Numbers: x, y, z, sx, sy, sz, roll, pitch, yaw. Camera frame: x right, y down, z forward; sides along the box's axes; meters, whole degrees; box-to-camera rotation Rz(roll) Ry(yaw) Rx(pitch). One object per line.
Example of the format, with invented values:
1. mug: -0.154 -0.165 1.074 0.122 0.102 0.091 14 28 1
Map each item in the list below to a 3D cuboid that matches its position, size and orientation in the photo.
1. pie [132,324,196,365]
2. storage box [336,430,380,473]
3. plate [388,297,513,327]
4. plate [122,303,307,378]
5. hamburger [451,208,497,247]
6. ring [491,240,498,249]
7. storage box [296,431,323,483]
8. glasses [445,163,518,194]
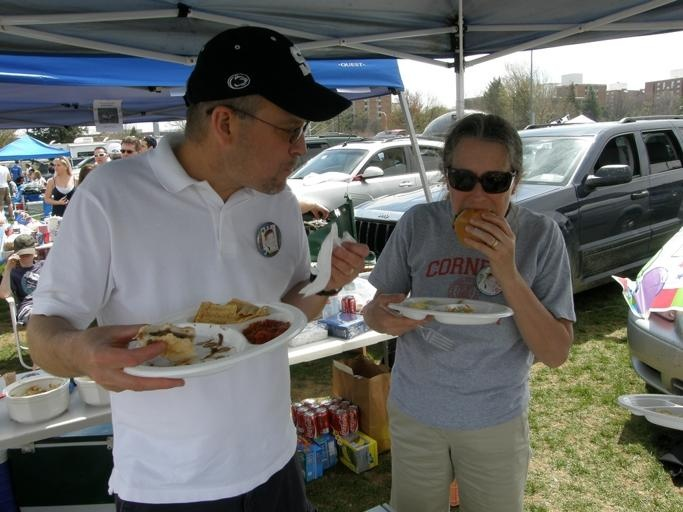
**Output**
1. pie: -0.631 0.316 1.730 0.206 0.141 0.137 -10 11 -35
2. storage box: 0.152 1.840 4.623 0.320 0.336 0.552 -6 2 -36
3. plate: 0.543 0.272 2.304 0.570 0.107 0.402 1 9 23
4. plate: -0.453 0.335 1.759 0.472 0.056 0.339 -17 18 -42
5. hamburger: 0.639 -0.148 2.330 0.184 0.158 0.089 0 -30 -10
6. ring: 0.716 -0.054 2.197 0.010 0.032 0.035 22 -22 -29
7. storage box: 0.143 1.905 4.618 0.274 0.247 0.394 -8 5 -32
8. glasses: 0.728 -0.394 2.457 0.343 0.154 0.106 -1 10 12
